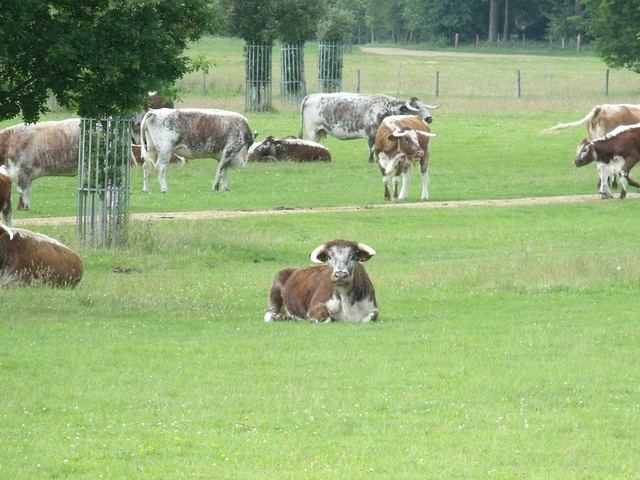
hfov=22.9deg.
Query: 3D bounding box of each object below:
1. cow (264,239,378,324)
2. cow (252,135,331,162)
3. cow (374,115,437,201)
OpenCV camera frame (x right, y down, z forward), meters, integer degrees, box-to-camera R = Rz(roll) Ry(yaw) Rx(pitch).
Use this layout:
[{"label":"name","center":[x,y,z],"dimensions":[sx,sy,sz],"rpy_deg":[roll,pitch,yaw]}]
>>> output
[{"label":"cow","center":[0.077,0.952,33.738],"dimensions":[2.377,1.879,3.677],"rpy_deg":[-3,1,-29]},{"label":"cow","center":[-1.043,-3.111,54.410],"dimensions":[2.735,0.864,0.599],"rpy_deg":[-2,14,-7]},{"label":"cow","center":[2.557,-2.417,48.292],"dimensions":[1.646,2.265,2.802],"rpy_deg":[1,14,2]}]
